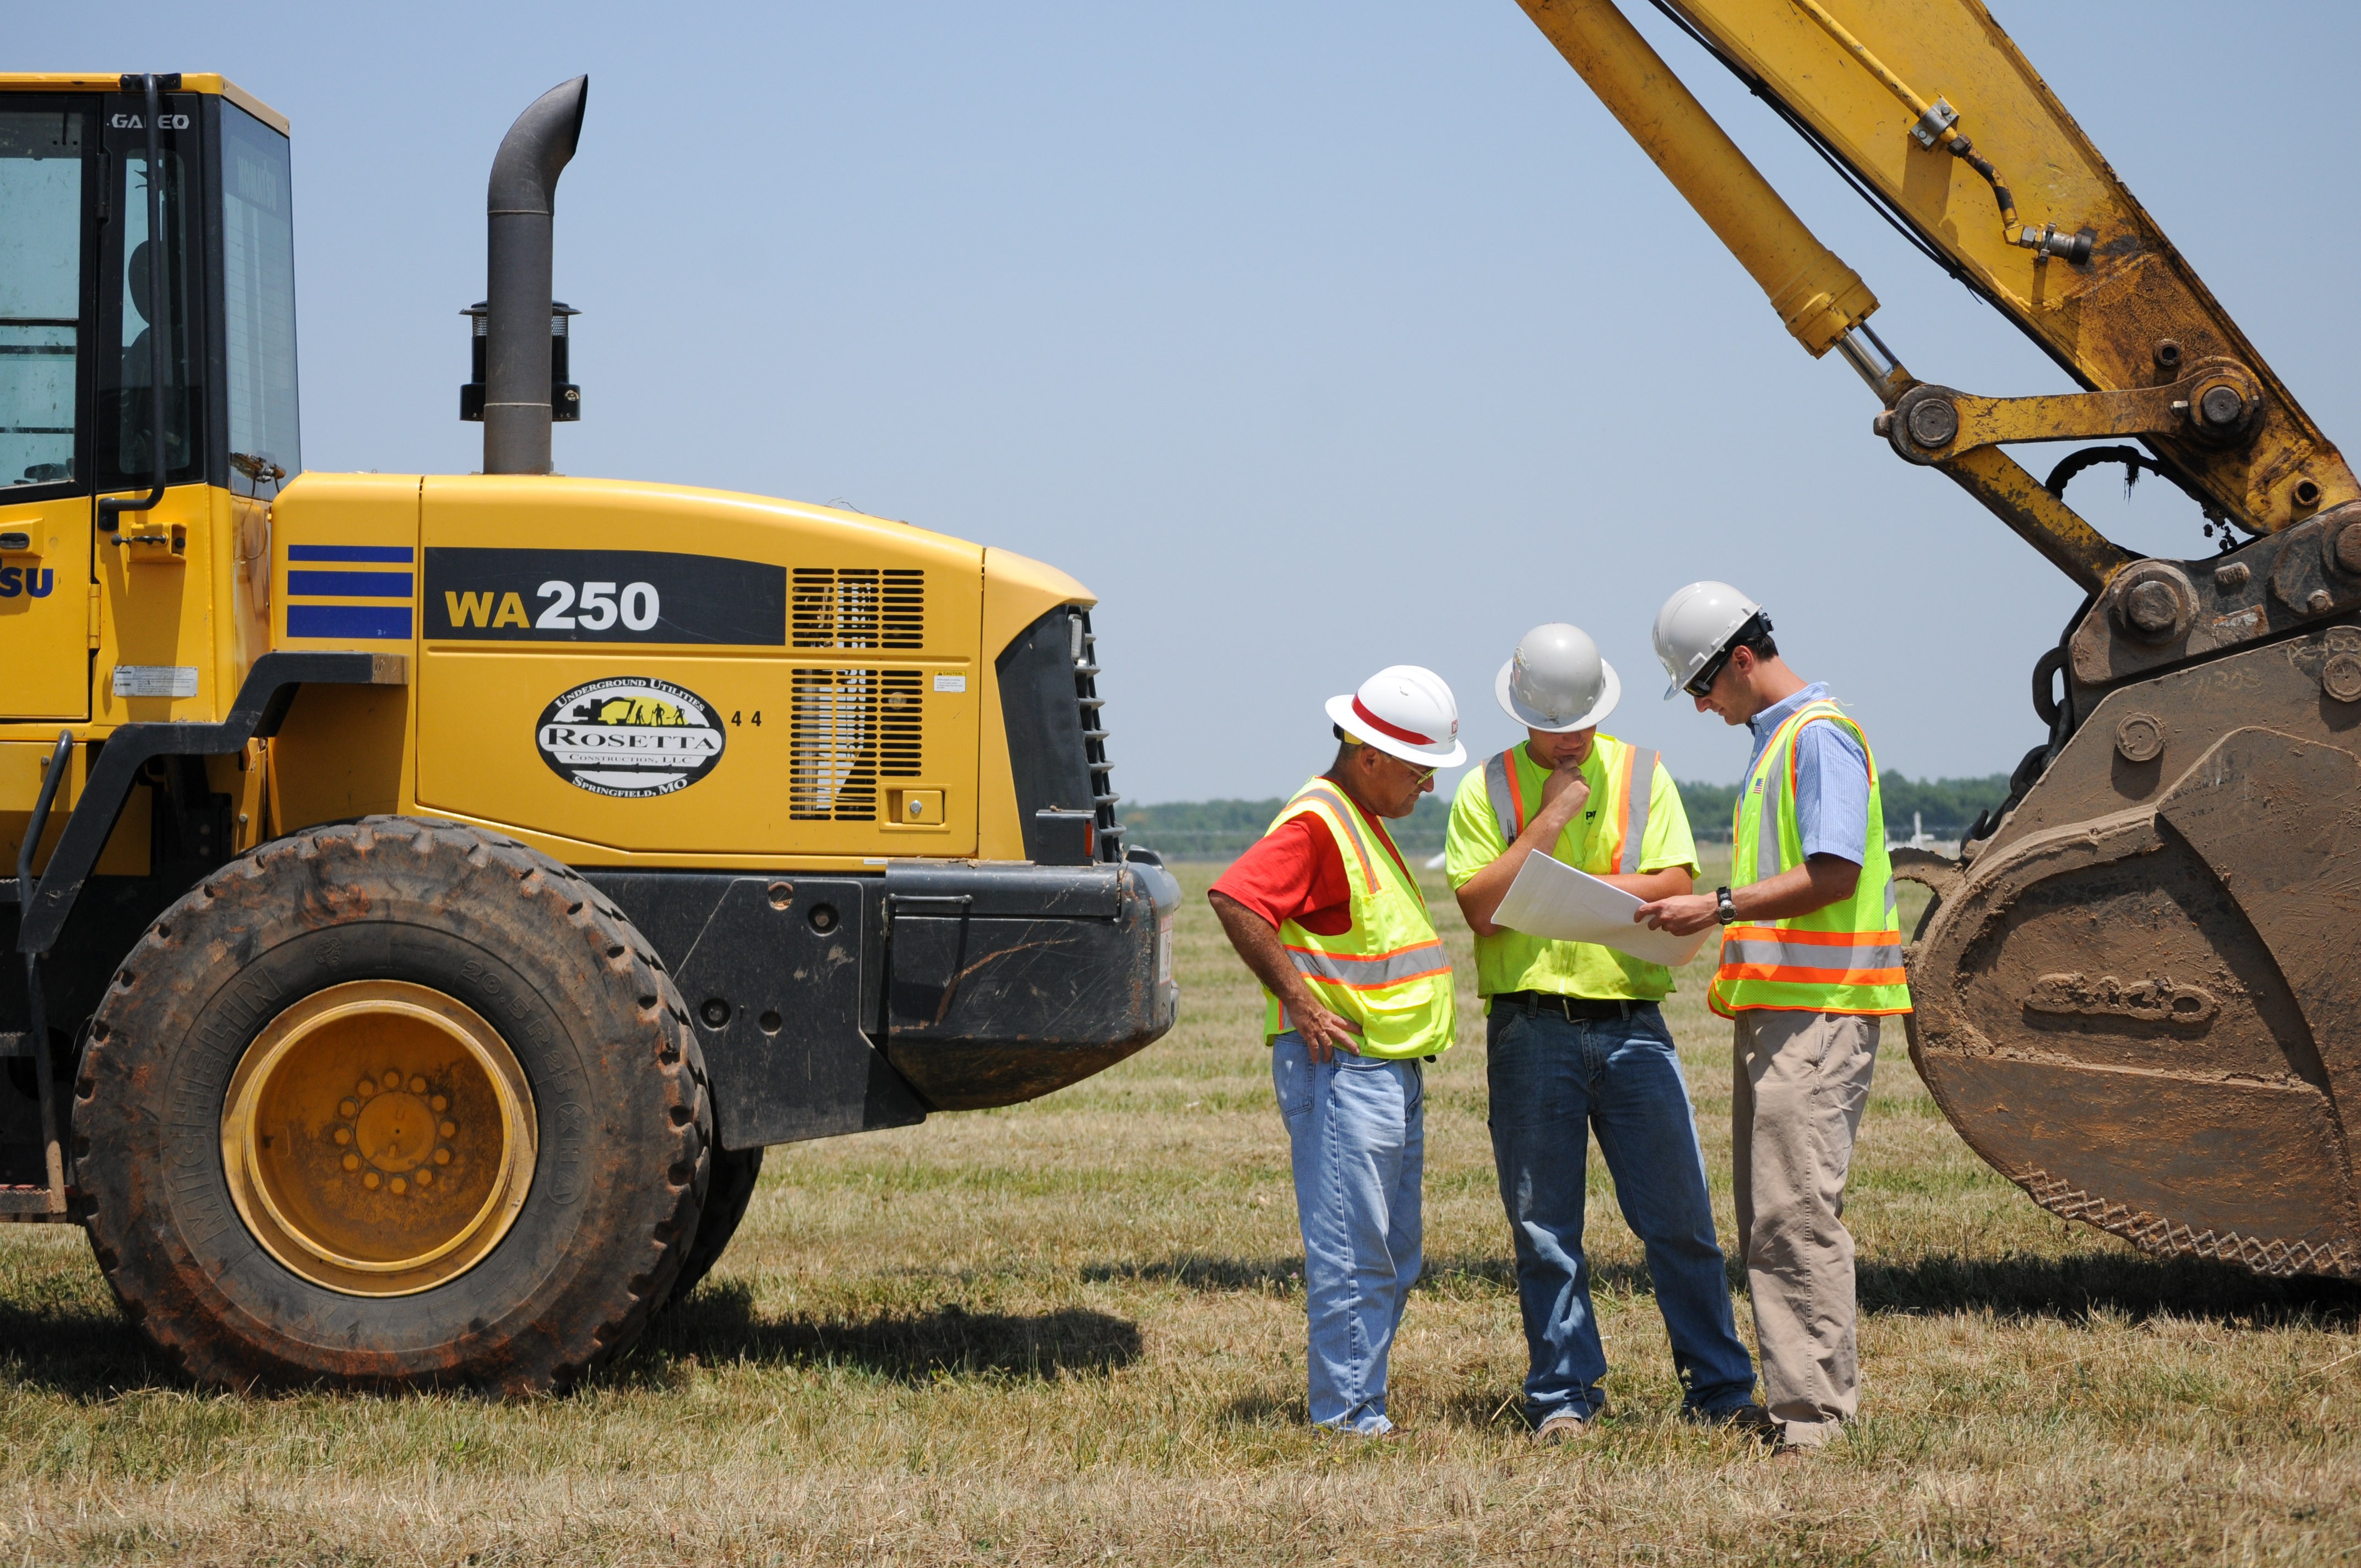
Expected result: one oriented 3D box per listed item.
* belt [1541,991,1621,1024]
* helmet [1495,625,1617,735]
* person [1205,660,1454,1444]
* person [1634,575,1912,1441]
[{"bbox_3d":[1.597,0.864,11.534,0.287,0.093,0.048,1,4,8],"label":"belt"},{"bbox_3d":[1.469,-0.406,11.502,0.407,0.406,0.217,1,4,14],"label":"helmet"},{"bbox_3d":[0.633,1.021,11.351,0.899,2.920,0.408,0,4,-5],"label":"person"},{"bbox_3d":[2.367,0.863,11.455,0.863,3.244,0.646,1,4,19],"label":"person"}]
